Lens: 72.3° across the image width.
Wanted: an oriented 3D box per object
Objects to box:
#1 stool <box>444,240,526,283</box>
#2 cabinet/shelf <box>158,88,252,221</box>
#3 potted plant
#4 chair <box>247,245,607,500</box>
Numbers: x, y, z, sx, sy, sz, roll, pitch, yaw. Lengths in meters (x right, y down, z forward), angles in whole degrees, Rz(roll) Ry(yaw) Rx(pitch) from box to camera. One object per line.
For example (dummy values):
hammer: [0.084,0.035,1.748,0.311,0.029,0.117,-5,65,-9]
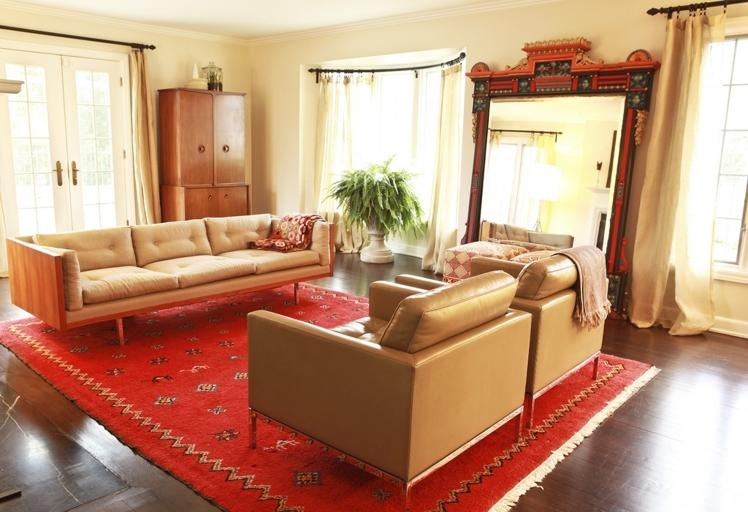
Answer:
stool: [1.150,0.011,5.677,0.527,0.301,0.676,12,18,42]
cabinet/shelf: [-2.537,-1.473,7.620,0.630,1.876,1.136,14,20,43]
potted plant: [0.033,-0.542,7.452,1.345,1.223,1.298,-1,-3,-40]
chair: [0.490,0.599,3.606,2.500,1.186,1.237,-12,18,-42]
